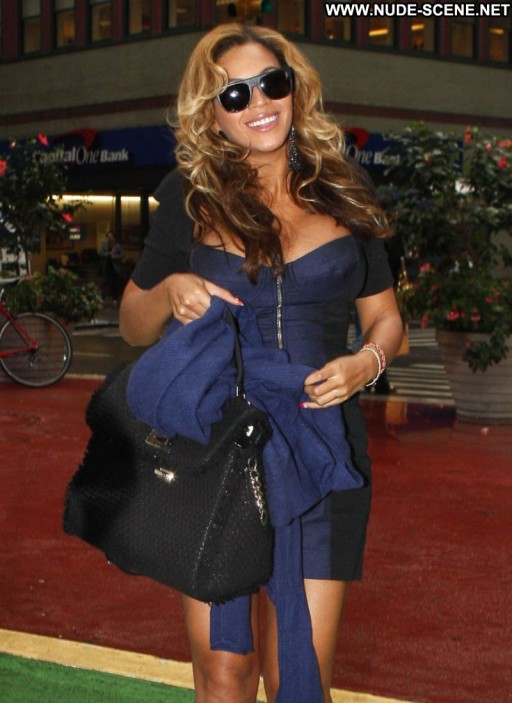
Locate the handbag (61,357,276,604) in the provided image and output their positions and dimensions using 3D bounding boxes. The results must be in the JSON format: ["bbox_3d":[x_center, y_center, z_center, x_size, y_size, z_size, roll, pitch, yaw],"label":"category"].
[{"bbox_3d":[-0.186,0.245,1.261,0.497,0.382,0.149,4,6,42],"label":"handbag"}]
